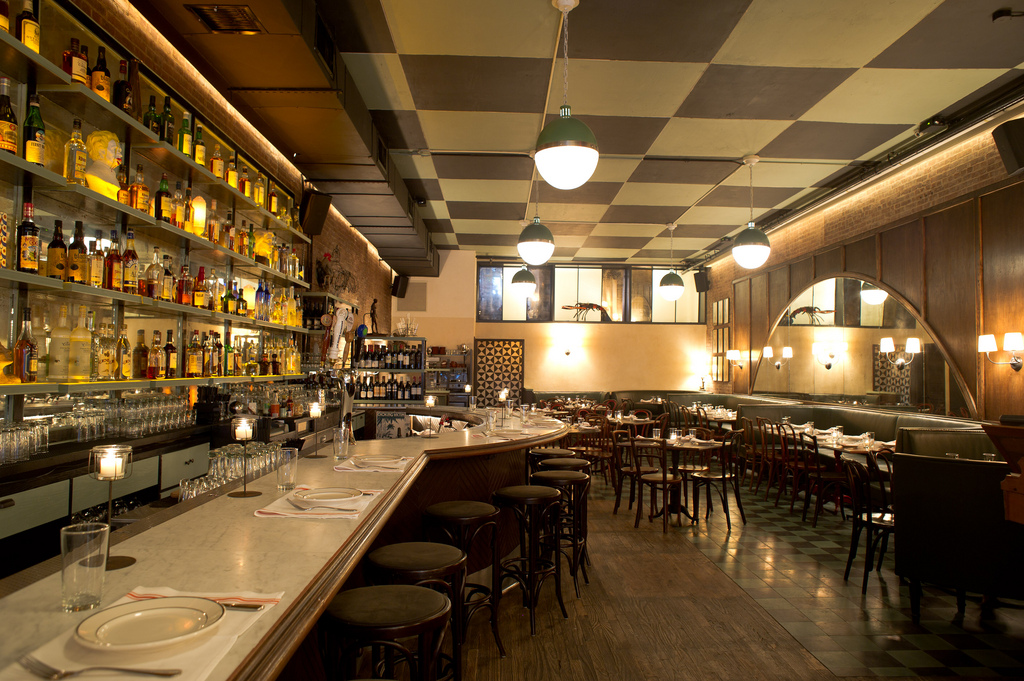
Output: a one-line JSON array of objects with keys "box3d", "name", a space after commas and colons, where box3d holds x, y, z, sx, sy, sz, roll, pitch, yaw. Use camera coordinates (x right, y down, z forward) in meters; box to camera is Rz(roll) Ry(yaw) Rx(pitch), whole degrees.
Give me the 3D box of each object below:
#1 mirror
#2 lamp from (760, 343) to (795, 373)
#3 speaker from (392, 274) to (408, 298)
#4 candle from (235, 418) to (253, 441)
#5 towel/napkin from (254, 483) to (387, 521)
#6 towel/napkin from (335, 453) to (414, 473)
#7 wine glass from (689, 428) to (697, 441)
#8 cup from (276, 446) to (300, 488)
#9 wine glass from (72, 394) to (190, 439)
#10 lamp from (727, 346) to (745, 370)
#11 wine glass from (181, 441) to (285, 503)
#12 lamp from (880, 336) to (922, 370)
[{"box3d": [5.402, -0.002, 11.430, 0.035, 1.537, 2.402, -5, 6, -45], "name": "mirror"}, {"box3d": [4.791, 0.282, 13.438, 0.533, 0.357, 0.156, 1, -3, -33], "name": "lamp"}, {"box3d": [-2.224, -1.106, 14.567, 0.285, 0.509, 0.292, 18, 22, 28], "name": "speaker"}, {"box3d": [-1.650, 0.549, 4.576, 0.123, 0.140, 0.122, 3, -3, -19], "name": "candle"}, {"box3d": [-1.149, 0.955, 4.419, 0.668, 0.073, 0.375, 1, 8, 4], "name": "towel/napkin"}, {"box3d": [-0.962, 0.847, 5.134, 0.523, 0.025, 0.358, 0, 8, -1], "name": "towel/napkin"}, {"box3d": [2.108, 1.074, 8.598, 0.093, 0.153, 0.098, 2, 0, 27], "name": "wine glass"}, {"box3d": [-1.413, 0.801, 4.603, 0.119, 0.256, 0.069, 0, 9, -4], "name": "cup"}, {"box3d": [-3.094, 0.611, 6.036, 0.835, 0.267, 0.268, 1, -1, -43], "name": "wine glass"}, {"box3d": [4.212, 0.292, 13.789, 0.315, 0.467, 0.344, 7, -5, -21], "name": "lamp"}, {"box3d": [-1.878, 0.847, 4.908, 0.316, 0.248, 0.582, -1, 0, 21], "name": "wine glass"}, {"box3d": [6.299, 0.185, 11.948, 0.290, 0.462, 0.554, -6, 0, -12], "name": "lamp"}]
